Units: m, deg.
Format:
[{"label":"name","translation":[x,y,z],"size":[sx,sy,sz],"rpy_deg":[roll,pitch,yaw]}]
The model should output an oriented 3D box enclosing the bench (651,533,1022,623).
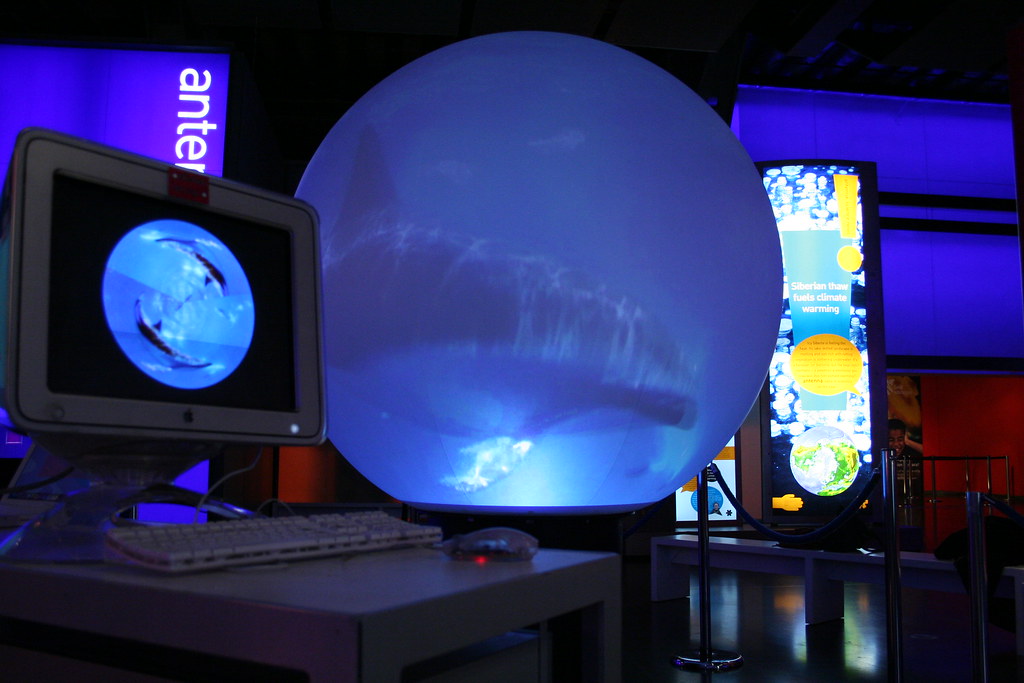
[{"label":"bench","translation":[1.708,1.434,5.393],"size":[1.903,0.516,0.511],"rpy_deg":[-1,-6,44]}]
